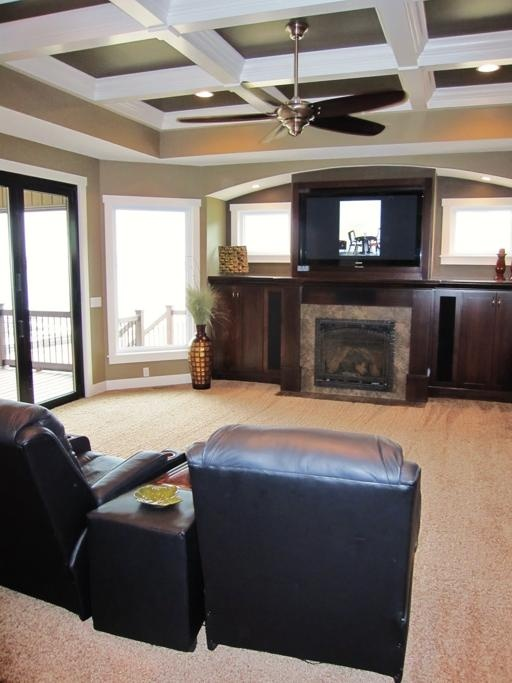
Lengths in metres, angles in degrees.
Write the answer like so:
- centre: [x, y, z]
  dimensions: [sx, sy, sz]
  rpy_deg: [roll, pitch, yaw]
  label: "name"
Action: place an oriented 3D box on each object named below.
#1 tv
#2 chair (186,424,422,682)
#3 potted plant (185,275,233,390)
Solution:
- centre: [1.221, -1.255, 5.516]
  dimensions: [0.980, 0.612, 0.101]
  rpy_deg: [2, 12, 16]
  label: "tv"
- centre: [0.119, 0.485, 1.687]
  dimensions: [0.583, 0.807, 0.797]
  rpy_deg: [4, 15, 17]
  label: "chair"
- centre: [-0.577, -0.070, 5.991]
  dimensions: [0.390, 1.206, 0.624]
  rpy_deg: [0, 7, 8]
  label: "potted plant"
